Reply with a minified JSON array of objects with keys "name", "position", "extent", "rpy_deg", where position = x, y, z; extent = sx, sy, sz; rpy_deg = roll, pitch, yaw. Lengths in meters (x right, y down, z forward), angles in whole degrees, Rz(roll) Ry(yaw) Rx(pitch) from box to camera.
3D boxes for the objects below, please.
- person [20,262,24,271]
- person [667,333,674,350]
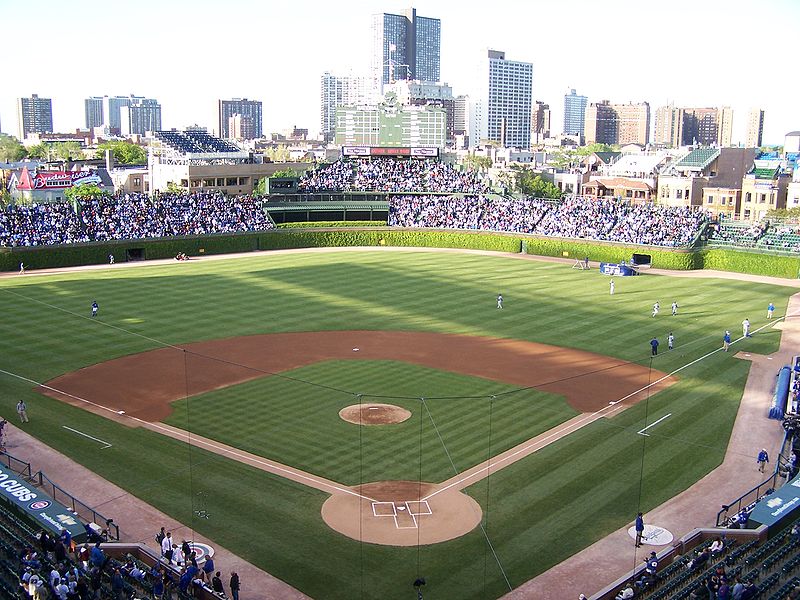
[{"name":"person","position":[-38.941,-3.391,87.749],"extent":[0.421,0.705,0.538],"rpy_deg":[-6,13,-22]},{"name":"person","position":[19.246,2.871,60.044],"extent":[0.383,1.166,1.796],"rpy_deg":[3,12,16]}]
